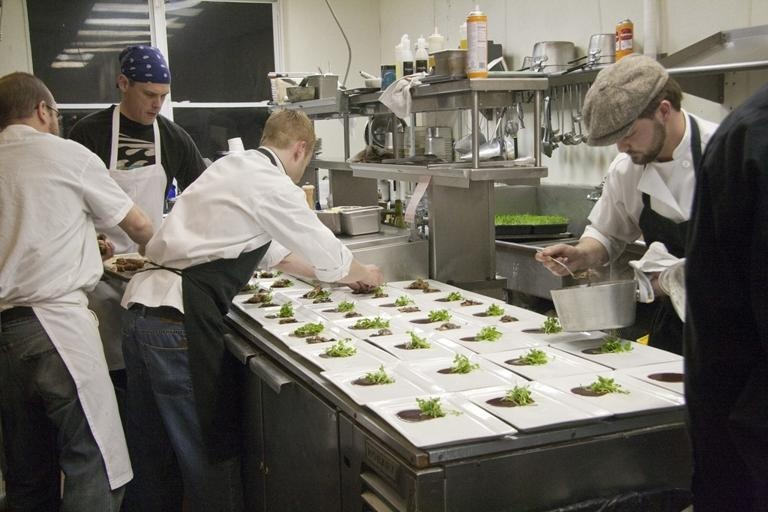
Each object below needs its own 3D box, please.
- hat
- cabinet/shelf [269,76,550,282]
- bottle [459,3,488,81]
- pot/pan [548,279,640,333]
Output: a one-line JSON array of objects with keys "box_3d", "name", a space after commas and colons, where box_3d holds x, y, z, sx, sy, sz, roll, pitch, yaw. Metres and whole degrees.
[{"box_3d": [0.899, -0.580, 2.232, 0.306, 0.325, 0.168, -1, 14, 8], "name": "hat"}, {"box_3d": [0.182, -0.438, 3.520, 0.586, 1.219, 1.483, -8, 10, -30], "name": "cabinet/shelf"}, {"box_3d": [0.435, -0.999, 2.817, 0.099, 0.330, 0.149, -1, 14, 8], "name": "bottle"}, {"box_3d": [0.859, 0.196, 2.410, 0.320, 0.163, 0.338, -7, -2, 22], "name": "pot/pan"}]
